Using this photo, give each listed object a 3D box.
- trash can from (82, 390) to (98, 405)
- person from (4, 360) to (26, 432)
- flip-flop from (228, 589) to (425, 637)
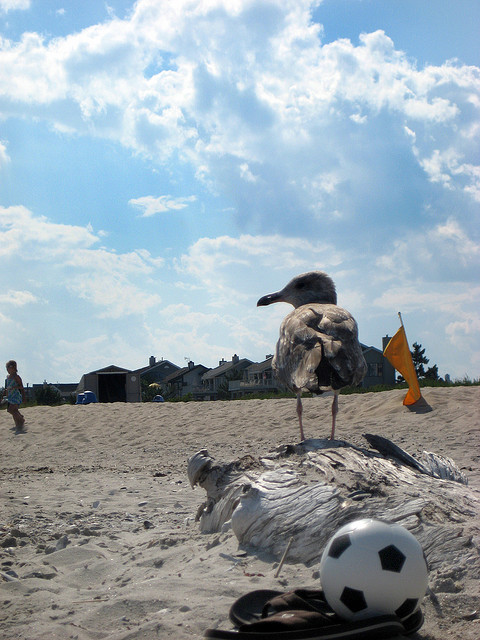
[{"bbox_3d":[-4.886,2.525,21.872,0.358,0.329,0.757,-2,-7,0],"label":"trash can"},{"bbox_3d":[-4.757,1.643,14.254,0.369,1.459,1.566,0,-7,-18],"label":"person"},{"bbox_3d":[0.182,1.278,2.892,0.706,0.192,0.230,-2,-5,6],"label":"flip-flop"}]
